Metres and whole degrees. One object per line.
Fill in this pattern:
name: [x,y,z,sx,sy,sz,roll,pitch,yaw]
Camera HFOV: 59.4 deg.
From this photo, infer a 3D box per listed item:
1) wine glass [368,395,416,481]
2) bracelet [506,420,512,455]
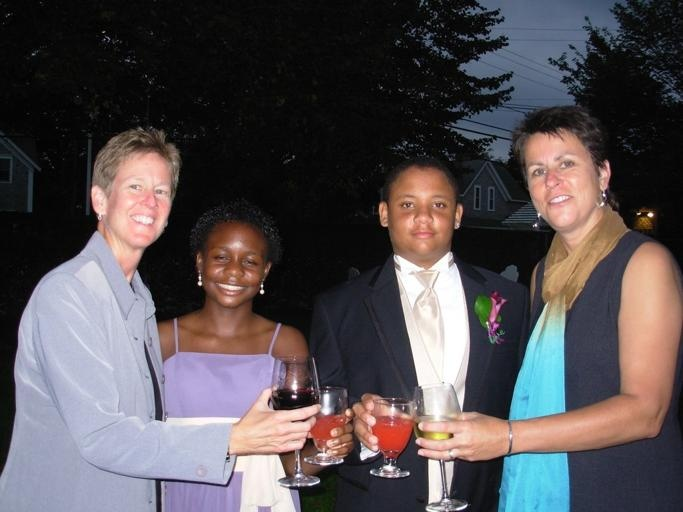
wine glass: [0.329,1.205,3.877,0.270,0.577,0.397,-1,-4,3]
bracelet: [0.972,1.051,3.441,0.032,0.176,0.032,-1,-4,9]
